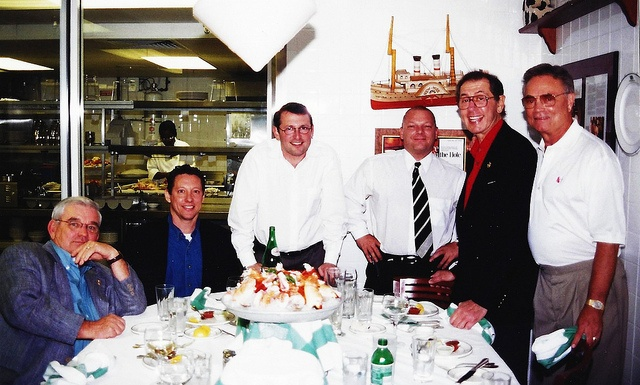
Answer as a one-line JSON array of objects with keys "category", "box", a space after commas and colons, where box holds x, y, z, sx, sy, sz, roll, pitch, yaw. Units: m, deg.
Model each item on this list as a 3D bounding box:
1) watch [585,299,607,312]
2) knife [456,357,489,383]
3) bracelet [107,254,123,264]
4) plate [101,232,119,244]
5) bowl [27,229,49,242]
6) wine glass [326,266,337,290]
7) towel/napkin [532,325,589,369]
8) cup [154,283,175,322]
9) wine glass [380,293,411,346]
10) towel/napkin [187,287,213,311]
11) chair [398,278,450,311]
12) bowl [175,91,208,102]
[{"category": "watch", "box": [1.851, 0.755, 3.327, 0.092, 0.080, 0.087, -2, 24, -39]}, {"category": "knife", "box": [0.871, 1.025, 2.837, 0.042, 0.023, 0.287, 15, 19, 37]}, {"category": "bracelet", "box": [-1.436, 0.449, 3.469, 0.086, 0.089, 0.058, 11, 37, -41]}, {"category": "plate", "box": [-2.578, 0.549, 6.008, 0.168, 0.088, 0.160, 3, 8, -1]}, {"category": "bowl", "box": [-3.322, 0.518, 5.843, 0.163, 0.096, 0.159, 2, -1, 0]}, {"category": "wine glass", "box": [0.090, 0.622, 3.655, 0.118, 0.121, 0.113, 0, -4, 3]}, {"category": "towel/napkin", "box": [1.402, 0.956, 3.066, 0.300, 0.124, 0.221, -33, 16, -15]}, {"category": "cup", "box": [-1.011, 0.757, 3.332, 0.149, 0.207, 0.140, -6, -24, -3]}, {"category": "wine glass", "box": [0.506, 0.848, 3.319, 0.197, 0.304, 0.188, 2, 3, -29]}, {"category": "towel/napkin", "box": [-0.835, 0.752, 3.492, 0.093, 0.072, 0.161, -2, 45, 15]}, {"category": "chair", "box": [0.795, 0.761, 3.865, 0.280, 0.181, 0.267, 1, 4, -1]}, {"category": "bowl", "box": [-1.693, -1.266, 6.498, 0.280, 0.066, 0.267, -1, 4, 0]}]
